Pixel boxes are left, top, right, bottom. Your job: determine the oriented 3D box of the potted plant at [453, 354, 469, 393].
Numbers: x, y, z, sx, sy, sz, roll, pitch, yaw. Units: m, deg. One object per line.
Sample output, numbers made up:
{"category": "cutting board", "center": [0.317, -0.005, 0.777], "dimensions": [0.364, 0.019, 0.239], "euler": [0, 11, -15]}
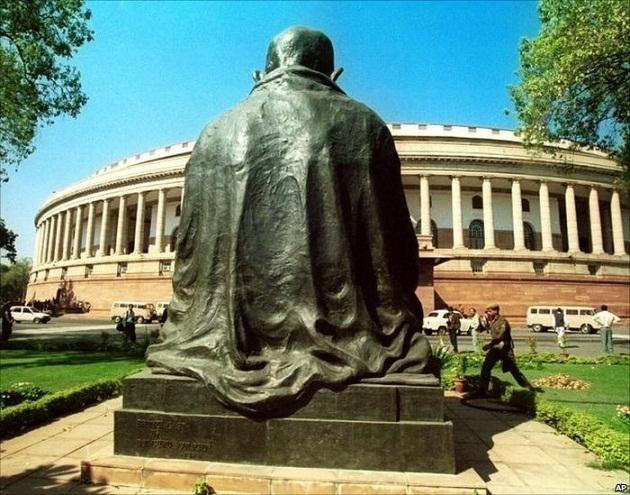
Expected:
{"category": "potted plant", "center": [2.856, 2.466, 9.365], "dimensions": [0.260, 0.644, 1.092], "euler": [-4, -11, 15]}
